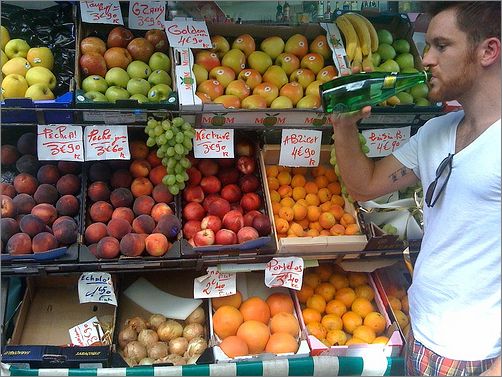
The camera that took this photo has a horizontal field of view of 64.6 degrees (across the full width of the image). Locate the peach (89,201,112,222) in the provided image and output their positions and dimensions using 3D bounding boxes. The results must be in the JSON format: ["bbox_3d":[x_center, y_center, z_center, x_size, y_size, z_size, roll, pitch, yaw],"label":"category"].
[{"bbox_3d":[-0.935,0.150,2.482,0.120,0.121,0.121,-9,66,-34],"label":"peach"}]

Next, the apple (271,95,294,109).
[{"bbox_3d":[0.196,-0.554,2.582,0.119,0.091,0.093,-17,4,-24],"label":"apple"}]

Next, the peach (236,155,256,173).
[{"bbox_3d":[-0.035,-0.155,2.874,0.114,0.114,0.116,-13,79,-2],"label":"peach"}]

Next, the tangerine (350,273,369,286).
[{"bbox_3d":[0.790,0.668,2.966,0.115,0.096,0.099,4,33,-29],"label":"tangerine"}]

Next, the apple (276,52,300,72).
[{"bbox_3d":[0.263,-0.885,2.894,0.140,0.144,0.142,-20,60,-10],"label":"apple"}]

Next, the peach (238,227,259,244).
[{"bbox_3d":[-0.025,0.284,2.448,0.099,0.059,0.100,-32,63,-21],"label":"peach"}]

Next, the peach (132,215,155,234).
[{"bbox_3d":[-0.661,0.224,2.421,0.117,0.111,0.113,-2,21,-11],"label":"peach"}]

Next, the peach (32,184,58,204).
[{"bbox_3d":[-1.271,0.041,2.442,0.121,0.116,0.120,8,25,39],"label":"peach"}]

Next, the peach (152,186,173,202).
[{"bbox_3d":[-0.574,0.031,2.565,0.113,0.114,0.107,1,1,-25],"label":"peach"}]

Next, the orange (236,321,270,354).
[{"bbox_3d":[0.034,0.931,2.618,0.190,0.231,0.197,6,4,12],"label":"orange"}]

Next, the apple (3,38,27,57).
[{"bbox_3d":[-1.515,-0.892,2.587,0.134,0.137,0.136,-1,8,-3],"label":"apple"}]

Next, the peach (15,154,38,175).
[{"bbox_3d":[-1.424,-0.147,2.520,0.128,0.128,0.122,-2,-9,-29],"label":"peach"}]

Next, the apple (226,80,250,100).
[{"bbox_3d":[-0.107,-0.641,2.688,0.137,0.139,0.140,-16,0,-30],"label":"apple"}]

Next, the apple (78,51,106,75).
[{"bbox_3d":[-1.005,-0.777,2.506,0.151,0.150,0.150,30,38,28],"label":"apple"}]

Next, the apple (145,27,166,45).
[{"bbox_3d":[-0.651,-1.034,2.714,0.121,0.122,0.121,-1,74,-3],"label":"apple"}]

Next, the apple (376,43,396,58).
[{"bbox_3d":[0.983,-1.007,2.916,0.107,0.084,0.086,20,21,-33],"label":"apple"}]

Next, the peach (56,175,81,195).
[{"bbox_3d":[-1.151,-0.020,2.560,0.129,0.130,0.124,5,69,16],"label":"peach"}]

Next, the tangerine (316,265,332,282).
[{"bbox_3d":[0.532,0.634,2.968,0.108,0.106,0.124,1,64,-1],"label":"tangerine"}]

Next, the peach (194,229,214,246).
[{"bbox_3d":[-0.290,0.306,2.422,0.093,0.100,0.095,2,12,8],"label":"peach"}]

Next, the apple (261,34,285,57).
[{"bbox_3d":[0.153,-1.018,2.857,0.158,0.121,0.121,-13,-5,-3],"label":"apple"}]

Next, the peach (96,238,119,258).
[{"bbox_3d":[-0.842,0.350,2.378,0.115,0.121,0.124,-1,73,21],"label":"peach"}]

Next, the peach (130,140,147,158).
[{"bbox_3d":[-0.761,-0.258,2.724,0.113,0.110,0.114,-18,79,-33],"label":"peach"}]

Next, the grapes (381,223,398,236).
[{"bbox_3d":[0.942,0.276,2.681,0.079,0.032,0.079,3,9,-9],"label":"grapes"}]

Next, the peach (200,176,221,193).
[{"bbox_3d":[-0.275,-0.015,2.751,0.115,0.109,0.124,-24,34,8],"label":"peach"}]

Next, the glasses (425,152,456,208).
[{"bbox_3d":[0.793,-0.016,1.669,0.064,0.246,0.120,30,45,28],"label":"glasses"}]

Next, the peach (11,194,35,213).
[{"bbox_3d":[-1.368,0.098,2.407,0.118,0.111,0.117,2,54,-14],"label":"peach"}]

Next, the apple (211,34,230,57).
[{"bbox_3d":[-0.220,-1.006,2.785,0.129,0.134,0.137,-5,39,3],"label":"apple"}]

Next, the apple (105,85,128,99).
[{"bbox_3d":[-0.826,-0.583,2.419,0.075,0.075,0.073,36,37,7],"label":"apple"}]

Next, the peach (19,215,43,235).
[{"bbox_3d":[-1.265,0.212,2.274,0.119,0.114,0.118,-2,74,-1],"label":"peach"}]

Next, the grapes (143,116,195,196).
[{"bbox_3d":[-0.499,-0.197,2.473,0.297,0.520,0.236,-2,39,-8],"label":"grapes"}]

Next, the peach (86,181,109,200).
[{"bbox_3d":[-0.967,0.024,2.534,0.121,0.121,0.113,4,-1,39],"label":"peach"}]

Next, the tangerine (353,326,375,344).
[{"bbox_3d":[0.746,0.966,2.638,0.108,0.087,0.084,17,-10,11],"label":"tangerine"}]

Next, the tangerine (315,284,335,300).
[{"bbox_3d":[0.534,0.742,2.851,0.104,0.112,0.112,2,25,4],"label":"tangerine"}]

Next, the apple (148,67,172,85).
[{"bbox_3d":[-0.589,-0.705,2.543,0.112,0.112,0.109,9,14,33],"label":"apple"}]

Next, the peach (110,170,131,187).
[{"bbox_3d":[-0.844,-0.056,2.600,0.107,0.129,0.106,12,44,-6],"label":"peach"}]

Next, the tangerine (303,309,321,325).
[{"bbox_3d":[0.414,0.879,2.715,0.109,0.086,0.083,5,6,3],"label":"tangerine"}]

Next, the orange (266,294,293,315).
[{"bbox_3d":[0.190,0.794,2.761,0.141,0.143,0.141,6,17,12],"label":"orange"}]

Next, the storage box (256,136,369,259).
[{"bbox_3d":[0.415,0.062,2.717,0.572,0.239,0.791,-3,54,-9],"label":"storage box"}]

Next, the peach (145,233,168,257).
[{"bbox_3d":[-0.580,0.332,2.414,0.128,0.130,0.129,-3,44,-16],"label":"peach"}]

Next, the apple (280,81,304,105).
[{"bbox_3d":[0.274,-0.634,2.752,0.139,0.151,0.174,13,52,2],"label":"apple"}]

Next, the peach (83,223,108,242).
[{"bbox_3d":[-0.937,0.265,2.371,0.128,0.114,0.107,-17,3,-36],"label":"peach"}]

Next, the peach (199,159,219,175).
[{"bbox_3d":[-0.294,-0.143,2.796,0.109,0.108,0.129,41,18,-26],"label":"peach"}]

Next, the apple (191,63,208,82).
[{"bbox_3d":[-0.343,-0.763,2.706,0.114,0.114,0.136,-2,64,-17],"label":"apple"}]

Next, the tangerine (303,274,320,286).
[{"bbox_3d":[0.440,0.670,2.897,0.093,0.070,0.071,12,44,11],"label":"tangerine"}]

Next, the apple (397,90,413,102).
[{"bbox_3d":[1.061,-0.632,2.735,0.072,0.061,0.098,-11,18,-27],"label":"apple"}]

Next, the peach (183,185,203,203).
[{"bbox_3d":[-0.386,0.036,2.624,0.114,0.113,0.109,0,-1,2],"label":"peach"}]

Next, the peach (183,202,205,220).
[{"bbox_3d":[-0.374,0.156,2.606,0.111,0.113,0.111,13,9,-1],"label":"peach"}]

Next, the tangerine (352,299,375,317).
[{"bbox_3d":[0.780,0.830,2.766,0.111,0.121,0.121,15,6,21],"label":"tangerine"}]

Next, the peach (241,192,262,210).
[{"bbox_3d":[-0.004,0.091,2.739,0.114,0.115,0.109,2,-3,31],"label":"peach"}]

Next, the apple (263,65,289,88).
[{"bbox_3d":[0.164,-0.770,2.825,0.160,0.149,0.148,43,24,9],"label":"apple"}]

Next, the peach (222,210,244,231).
[{"bbox_3d":[-0.115,0.207,2.553,0.123,0.123,0.118,18,7,40],"label":"peach"}]

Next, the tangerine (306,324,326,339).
[{"bbox_3d":[0.429,0.933,2.603,0.102,0.103,0.098,-2,-4,2],"label":"tangerine"}]
